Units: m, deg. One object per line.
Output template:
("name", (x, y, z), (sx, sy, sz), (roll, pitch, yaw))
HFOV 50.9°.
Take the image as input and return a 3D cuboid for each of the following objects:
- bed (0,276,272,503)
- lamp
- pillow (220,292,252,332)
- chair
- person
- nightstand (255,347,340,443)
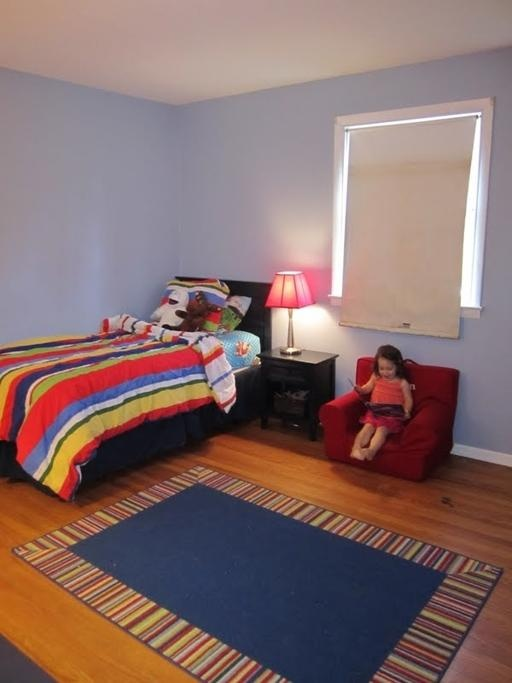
("bed", (-0.611, 0.211, 3.792), (0.963, 0.905, 1.821), (10, 14, 34))
("lamp", (0.266, -0.216, 4.019), (0.319, 0.595, 0.432), (4, 11, 23))
("pillow", (-0.175, -0.217, 4.465), (0.215, 0.296, 0.232), (36, -21, -25))
("chair", (0.870, 0.349, 3.451), (0.847, 0.711, 0.688), (5, 8, 36))
("person", (0.725, 0.360, 3.235), (0.350, 0.501, 0.747), (2, 25, 26))
("nightstand", (0.292, 0.333, 4.151), (0.676, 0.772, 0.596), (5, 8, 36))
